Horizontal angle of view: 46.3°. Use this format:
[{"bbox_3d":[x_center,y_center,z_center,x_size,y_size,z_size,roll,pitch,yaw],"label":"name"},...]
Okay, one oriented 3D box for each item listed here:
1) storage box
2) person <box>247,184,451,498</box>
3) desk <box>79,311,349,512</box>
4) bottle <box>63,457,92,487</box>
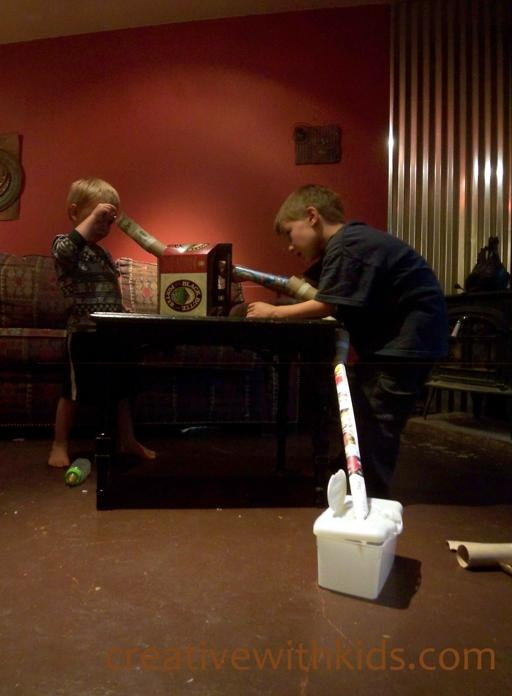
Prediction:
[{"bbox_3d":[0.174,0.332,1.007,0.125,0.130,0.151,2,4,22],"label":"storage box"},{"bbox_3d":[0.229,-0.048,1.940,0.674,1.189,0.547,-3,-1,15],"label":"person"},{"bbox_3d":[-0.121,0.218,1.783,0.545,0.686,0.882,0,5,-1],"label":"desk"},{"bbox_3d":[-0.480,0.332,1.587,0.031,0.032,0.105,11,6,-4],"label":"bottle"}]
